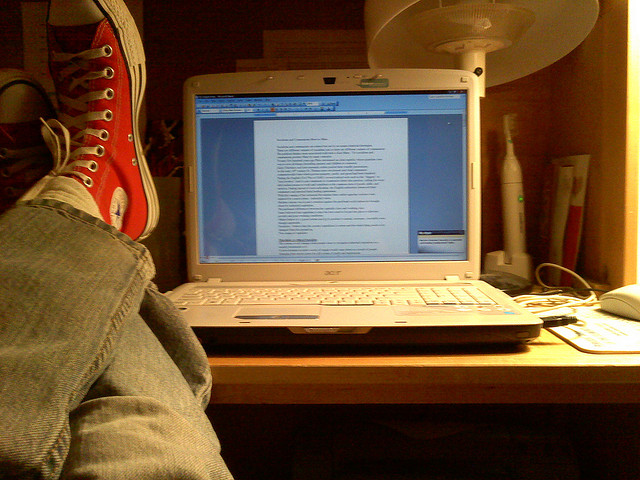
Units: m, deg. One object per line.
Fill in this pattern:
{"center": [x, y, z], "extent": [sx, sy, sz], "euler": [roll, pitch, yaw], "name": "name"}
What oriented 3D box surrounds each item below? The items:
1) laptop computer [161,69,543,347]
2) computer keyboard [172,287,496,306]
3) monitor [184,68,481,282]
{"center": [0.023, -0.070, 0.787], "extent": [0.520, 0.394, 0.313], "euler": [0, 10, 0], "name": "laptop computer"}
{"center": [0.015, 0.082, 0.804], "extent": [0.460, 0.013, 0.120], "euler": [1, 8, 3], "name": "computer keyboard"}
{"center": [0.035, -0.114, 0.903], "extent": [0.569, 0.261, 0.036], "euler": [-1, 2, 1], "name": "monitor"}
